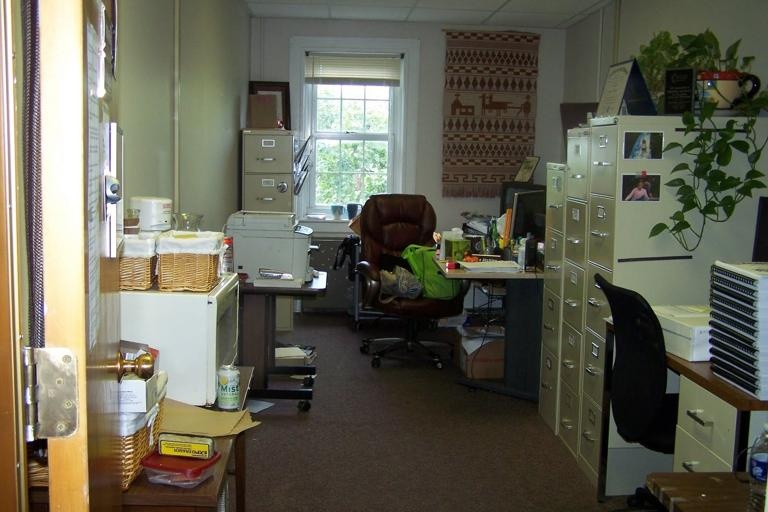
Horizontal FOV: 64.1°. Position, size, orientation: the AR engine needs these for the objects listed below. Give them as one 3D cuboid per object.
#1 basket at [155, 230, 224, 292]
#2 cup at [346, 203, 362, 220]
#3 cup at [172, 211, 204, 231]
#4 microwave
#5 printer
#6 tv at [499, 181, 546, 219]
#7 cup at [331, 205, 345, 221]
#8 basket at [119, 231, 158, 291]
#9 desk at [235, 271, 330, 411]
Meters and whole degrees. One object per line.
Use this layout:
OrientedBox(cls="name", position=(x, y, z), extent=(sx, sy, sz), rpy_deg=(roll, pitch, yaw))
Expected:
OrientedBox(cls="basket", position=(-0.744, 0.015, 2.343), extent=(0.180, 0.175, 0.249), rpy_deg=(0, 0, -8))
OrientedBox(cls="cup", position=(-0.320, -0.464, 6.339), extent=(0.197, 0.192, 0.129), rpy_deg=(1, 4, -7))
OrientedBox(cls="cup", position=(-1.059, -0.190, 3.291), extent=(0.149, 0.119, 0.167), rpy_deg=(-3, 13, -25))
OrientedBox(cls="microwave", position=(-0.775, 0.259, 2.436), extent=(0.374, 0.423, 0.662), rpy_deg=(1, 3, -4))
OrientedBox(cls="printer", position=(-0.724, -0.043, 3.984), extent=(0.510, 0.392, 0.330), rpy_deg=(3, 2, 0))
OrientedBox(cls="tv", position=(1.089, -0.434, 4.819), extent=(0.205, 0.332, 0.395), rpy_deg=(-7, 13, -32))
OrientedBox(cls="cup", position=(-0.483, -0.462, 6.523), extent=(0.144, 0.161, 0.144), rpy_deg=(1, 3, 0))
OrientedBox(cls="basket", position=(-0.900, 0.030, 2.325), extent=(0.154, 0.162, 0.220), rpy_deg=(0, 1, -15))
OrientedBox(cls="desk", position=(-0.791, 0.572, 4.299), extent=(0.794, 0.840, 0.942), rpy_deg=(3, 2, -12))
